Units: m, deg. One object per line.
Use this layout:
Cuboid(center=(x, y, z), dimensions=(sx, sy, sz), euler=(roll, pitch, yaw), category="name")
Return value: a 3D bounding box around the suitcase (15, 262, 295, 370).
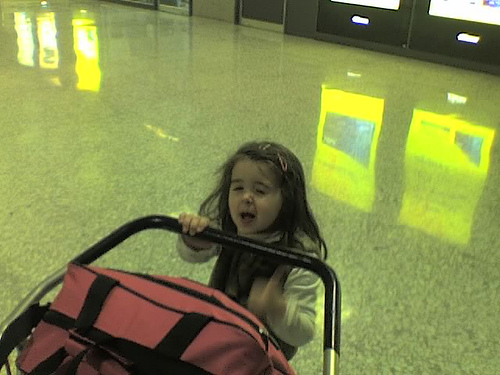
Cuboid(center=(-0.182, 0.248, 0.800), dimensions=(0.335, 0.118, 0.260), euler=(11, 25, 7), category="suitcase")
